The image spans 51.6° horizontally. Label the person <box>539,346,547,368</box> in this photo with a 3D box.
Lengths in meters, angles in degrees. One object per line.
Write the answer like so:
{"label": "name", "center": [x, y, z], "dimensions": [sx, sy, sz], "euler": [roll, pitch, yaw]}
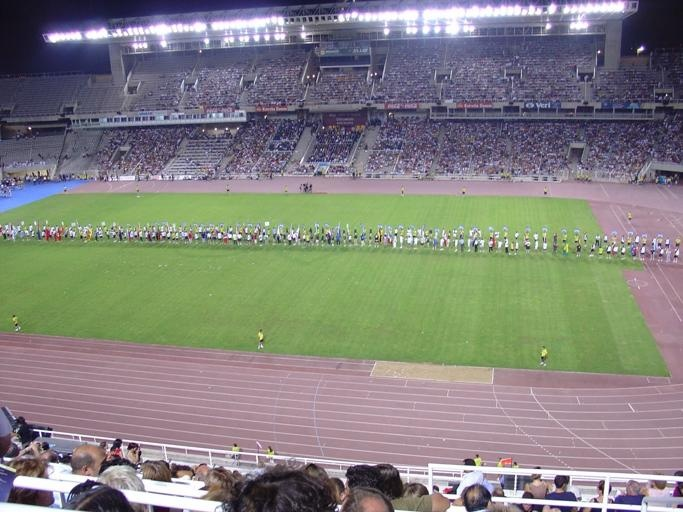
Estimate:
{"label": "person", "center": [9.766, 4.705, 33.897], "dimensions": [0.345, 0.920, 1.440], "euler": [2, 15, 15]}

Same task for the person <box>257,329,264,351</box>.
{"label": "person", "center": [-4.142, 4.111, 36.231], "dimensions": [0.386, 1.061, 1.555], "euler": [-3, 15, -6]}
